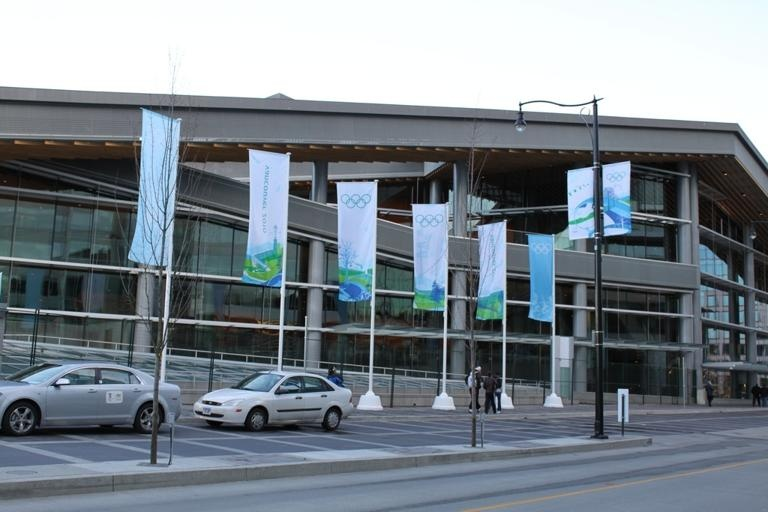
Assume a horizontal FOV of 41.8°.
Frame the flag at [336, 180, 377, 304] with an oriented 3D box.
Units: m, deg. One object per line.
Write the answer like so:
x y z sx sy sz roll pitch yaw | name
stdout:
-1.323 -0.754 48.808 1.766 5.744 1.133 -1 -12 6 | flag

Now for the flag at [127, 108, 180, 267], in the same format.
-9.420 -2.958 41.308 3.354 7.159 2.337 -1 0 0 | flag

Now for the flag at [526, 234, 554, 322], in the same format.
8.790 1.287 56.239 1.724 5.145 0.284 4 10 28 | flag

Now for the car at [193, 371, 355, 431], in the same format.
-4.347 6.158 41.723 5.500 1.804 2.645 10 -14 -32 | car

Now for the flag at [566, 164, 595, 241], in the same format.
9.377 -2.462 47.421 1.286 3.326 1.084 -1 0 -21 | flag

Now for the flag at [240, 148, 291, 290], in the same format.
-5.351 -1.791 45.729 1.830 6.264 0.919 2 -12 -9 | flag
